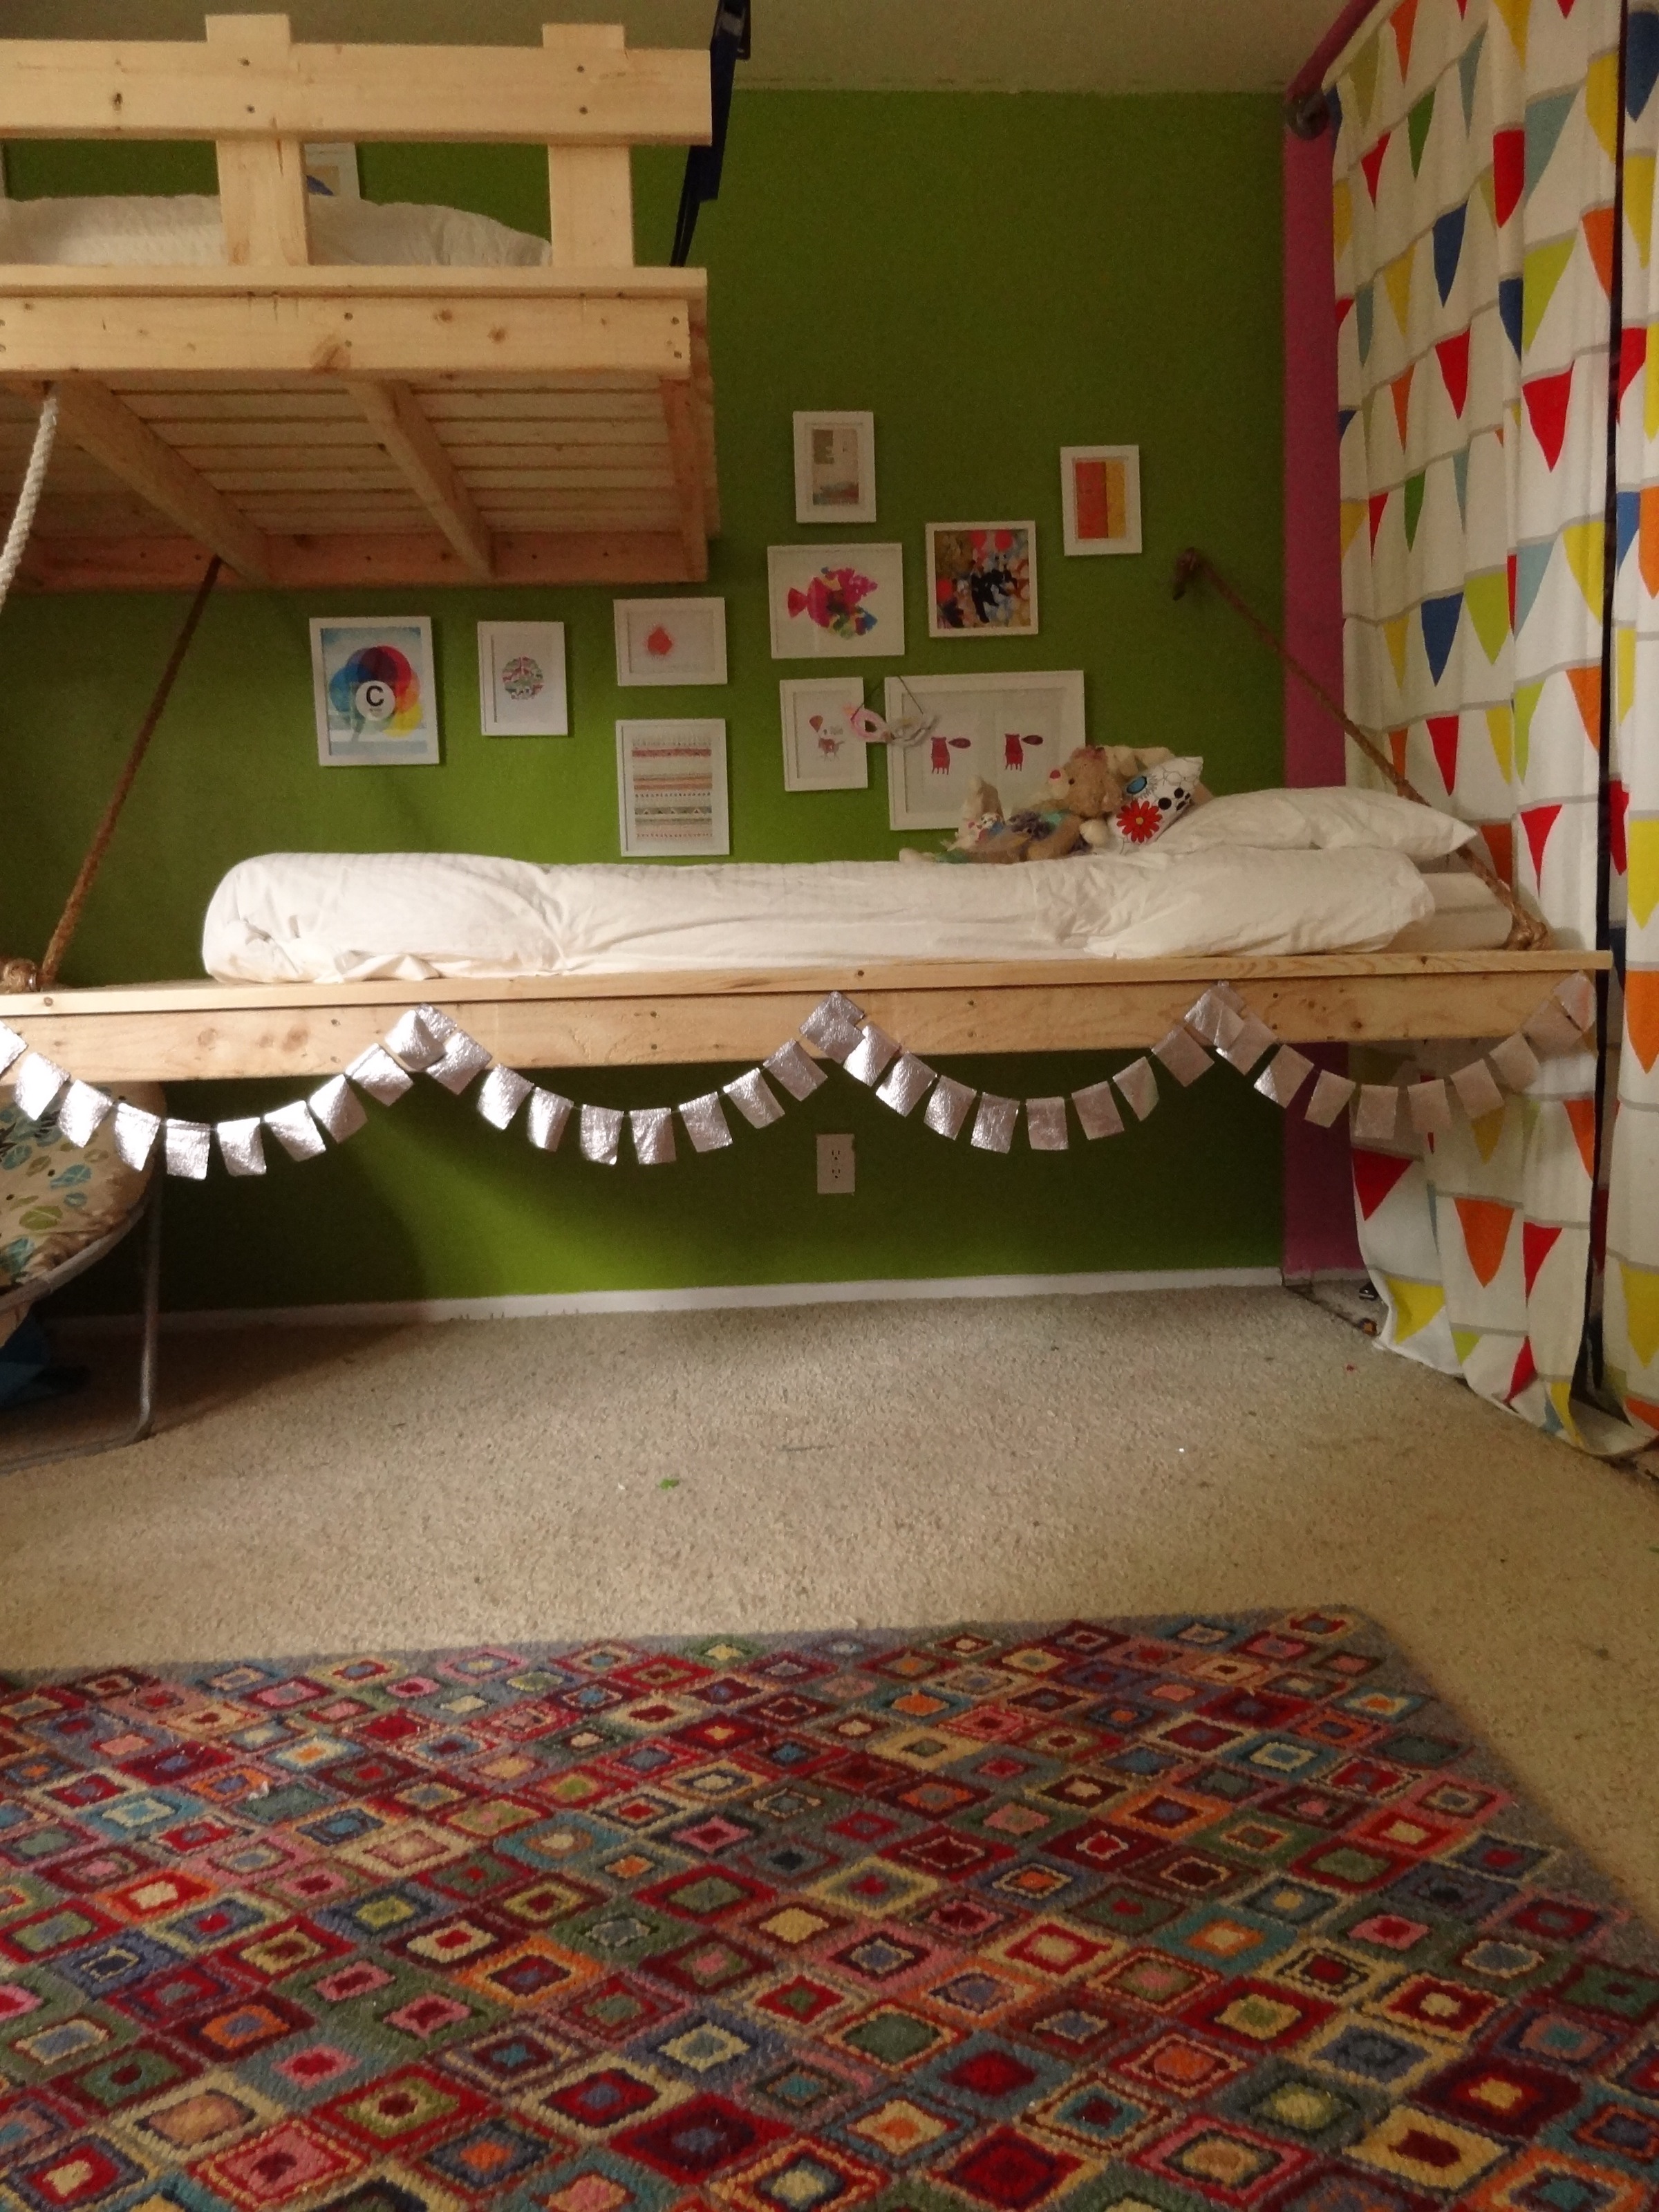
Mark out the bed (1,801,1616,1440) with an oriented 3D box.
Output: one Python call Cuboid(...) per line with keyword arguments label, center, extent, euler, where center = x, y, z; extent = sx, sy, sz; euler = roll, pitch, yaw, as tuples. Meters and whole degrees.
Cuboid(label="bed", center=(-0.009, -0.153, 2.635), extent=(2.146, 0.585, 0.621), euler=(-2, 6, -3))
